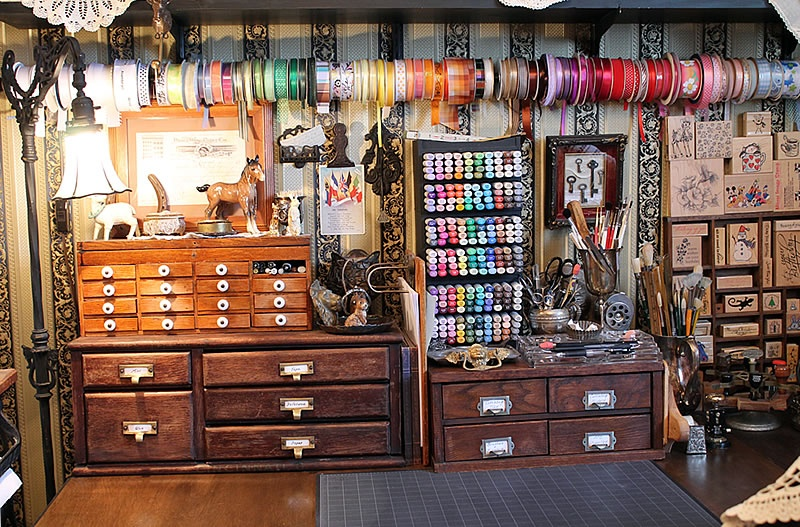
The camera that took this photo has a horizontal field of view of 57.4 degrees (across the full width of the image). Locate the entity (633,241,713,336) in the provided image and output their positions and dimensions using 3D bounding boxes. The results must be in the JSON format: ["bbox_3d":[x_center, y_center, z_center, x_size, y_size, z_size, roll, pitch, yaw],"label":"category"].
[{"bbox_3d":[1.631,0.140,4.763,0.537,0.687,0.577,1,-2,-44],"label":"entity"}]

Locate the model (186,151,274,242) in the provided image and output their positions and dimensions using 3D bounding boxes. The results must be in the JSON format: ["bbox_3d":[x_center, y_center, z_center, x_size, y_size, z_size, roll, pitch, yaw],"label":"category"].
[{"bbox_3d":[-1.032,-0.430,4.639,0.371,0.464,0.226,0,12,20],"label":"model"}]

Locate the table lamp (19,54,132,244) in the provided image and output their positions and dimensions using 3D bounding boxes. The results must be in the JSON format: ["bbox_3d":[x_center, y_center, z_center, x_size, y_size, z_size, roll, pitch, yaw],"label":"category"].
[{"bbox_3d":[-1.817,-0.666,4.331,0.647,1.103,1.118,-10,13,-26],"label":"table lamp"}]

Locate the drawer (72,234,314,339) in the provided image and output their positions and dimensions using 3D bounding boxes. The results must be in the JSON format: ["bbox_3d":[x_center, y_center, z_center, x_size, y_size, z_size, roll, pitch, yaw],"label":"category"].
[{"bbox_3d":[-1.269,0.136,4.590,1.314,0.560,0.484,-1,14,-15],"label":"drawer"}]

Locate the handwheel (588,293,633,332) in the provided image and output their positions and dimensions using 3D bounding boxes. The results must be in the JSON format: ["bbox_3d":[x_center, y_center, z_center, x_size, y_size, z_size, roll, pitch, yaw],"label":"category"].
[{"bbox_3d":[1.318,0.290,4.654,0.242,0.302,0.218,0,6,0],"label":"handwheel"}]
